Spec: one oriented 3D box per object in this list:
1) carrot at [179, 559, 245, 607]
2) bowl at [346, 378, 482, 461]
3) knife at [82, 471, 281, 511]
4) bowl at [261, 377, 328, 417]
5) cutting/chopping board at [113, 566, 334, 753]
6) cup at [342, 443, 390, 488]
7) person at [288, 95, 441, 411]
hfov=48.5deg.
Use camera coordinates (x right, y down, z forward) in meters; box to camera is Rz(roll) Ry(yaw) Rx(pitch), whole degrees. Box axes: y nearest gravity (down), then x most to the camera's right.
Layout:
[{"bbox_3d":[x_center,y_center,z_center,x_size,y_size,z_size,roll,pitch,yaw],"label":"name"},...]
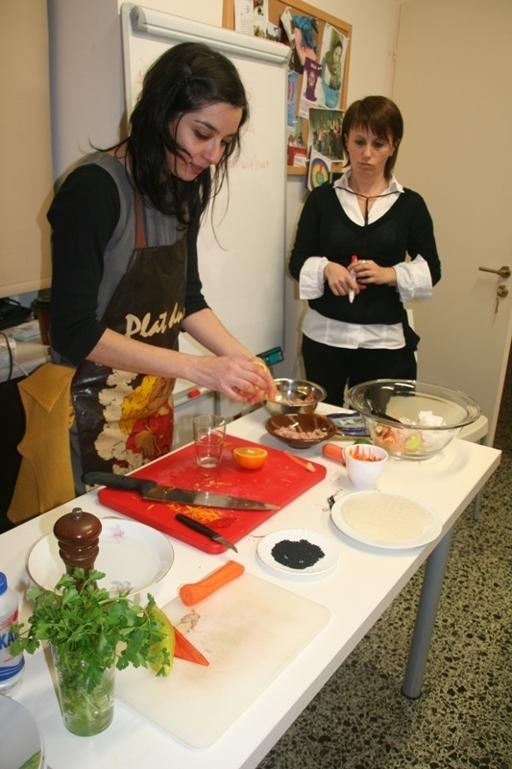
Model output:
[{"bbox_3d":[-0.063,0.284,0.820,0.033,0.026,0.104,9,16,39],"label":"carrot"},{"bbox_3d":[0.404,0.076,1.409,0.259,0.096,0.264,4,16,-1],"label":"bowl"},{"bbox_3d":[-0.142,0.206,1.091,0.267,0.024,0.055,7,28,7],"label":"knife"},{"bbox_3d":[0.113,0.031,1.535,0.107,0.042,0.109,6,29,-3],"label":"bowl"},{"bbox_3d":[-0.052,0.323,0.732,0.197,0.036,0.284,16,24,32],"label":"cutting/chopping board"},{"bbox_3d":[0.226,0.160,1.162,0.085,0.069,0.087,1,6,0],"label":"cup"},{"bbox_3d":[0.416,-0.406,2.239,0.578,1.004,0.382,3,20,3],"label":"person"}]
